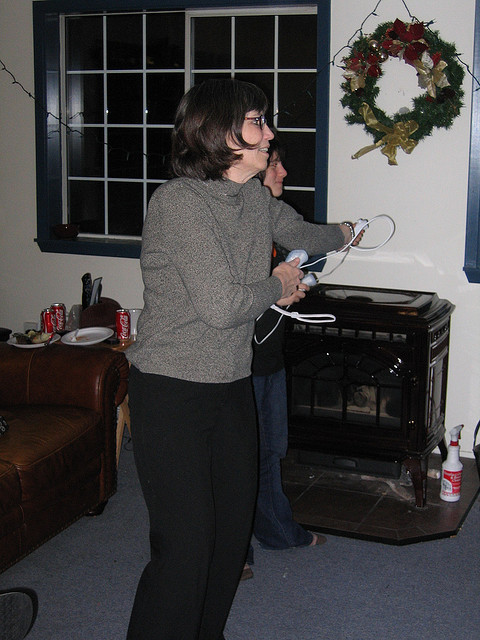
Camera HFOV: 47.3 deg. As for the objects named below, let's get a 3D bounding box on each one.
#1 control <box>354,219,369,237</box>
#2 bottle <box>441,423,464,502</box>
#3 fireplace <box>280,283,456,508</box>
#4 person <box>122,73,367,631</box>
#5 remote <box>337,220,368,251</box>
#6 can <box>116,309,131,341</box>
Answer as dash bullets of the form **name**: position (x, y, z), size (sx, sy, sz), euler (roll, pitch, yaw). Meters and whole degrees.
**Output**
- **control**: position (0.356, -0.275, 1.631), size (0.035, 0.055, 0.174), euler (1, 6, 12)
- **bottle**: position (0.997, 0.659, 2.581), size (0.085, 0.368, 0.151), euler (3, 6, 23)
- **fireplace**: position (0.712, 0.152, 2.880), size (1.008, 1.148, 0.664), euler (4, 9, 22)
- **person**: position (-0.022, 0.140, 1.114), size (0.353, 1.198, 0.298), euler (-3, 6, -33)
- **remote**: position (0.328, -0.246, 1.598), size (0.068, 0.125, 0.044), euler (6, -6, 43)
- **can**: position (-0.626, 0.028, 2.935), size (0.078, 0.160, 0.093), euler (-1, 6, -15)
